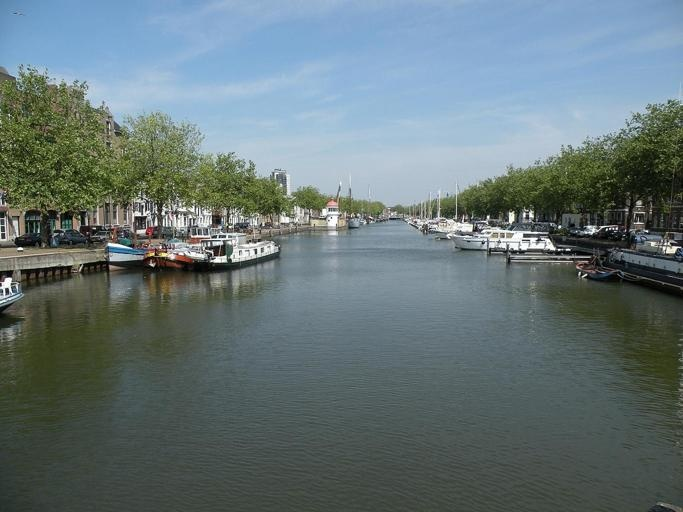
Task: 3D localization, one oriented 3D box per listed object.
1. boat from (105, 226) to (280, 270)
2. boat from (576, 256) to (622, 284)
[{"bbox_3d":[-15.750,-0.400,63.448,9.456,4.223,17.639,6,11,36],"label":"boat"},{"bbox_3d":[24.858,1.271,54.315,2.825,2.010,5.051,-1,9,-6],"label":"boat"}]
